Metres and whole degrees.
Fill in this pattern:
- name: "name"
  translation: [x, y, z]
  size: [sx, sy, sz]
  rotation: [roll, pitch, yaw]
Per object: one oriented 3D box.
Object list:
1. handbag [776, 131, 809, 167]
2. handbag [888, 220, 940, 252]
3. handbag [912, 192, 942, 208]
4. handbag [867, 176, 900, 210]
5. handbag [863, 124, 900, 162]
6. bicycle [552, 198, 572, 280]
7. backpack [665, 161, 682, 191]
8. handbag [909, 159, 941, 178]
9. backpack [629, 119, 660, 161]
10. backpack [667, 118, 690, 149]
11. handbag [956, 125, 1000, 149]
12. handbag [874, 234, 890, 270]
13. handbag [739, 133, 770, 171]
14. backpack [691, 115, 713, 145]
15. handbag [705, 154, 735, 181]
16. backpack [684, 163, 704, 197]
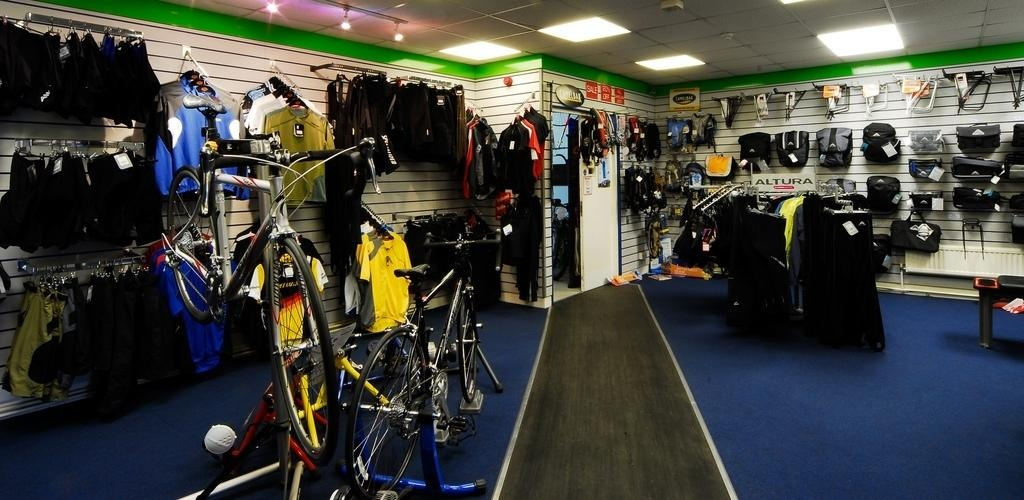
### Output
- name: "handbag"
  translation: [5.523, -1.956, 12.047]
  size: [0.612, 0.701, 0.268]
  rotation: [2, 9, 23]
- name: "handbag"
  translation: [7.405, -0.242, 11.150]
  size: [0.578, 0.449, 0.239]
  rotation: [9, 17, 29]
- name: "handbag"
  translation: [7.552, -0.864, 11.064]
  size: [0.480, 0.275, 0.299]
  rotation: [-1, 0, 32]
- name: "handbag"
  translation: [6.886, -1.028, 11.260]
  size: [0.685, 0.685, 0.432]
  rotation: [4, 8, 38]
- name: "handbag"
  translation: [6.864, -1.955, 11.265]
  size: [0.785, 0.801, 0.516]
  rotation: [-1, 3, 35]
- name: "bicycle"
  translation: [0.993, -0.140, 12.516]
  size: [0.290, 1.546, 0.525]
  rotation: [-1, 8, 6]
- name: "backpack"
  translation: [3.455, -1.581, 13.064]
  size: [0.333, 0.615, 0.257]
  rotation: [0, 8, 12]
- name: "handbag"
  translation: [7.472, -1.468, 11.079]
  size: [0.683, 0.402, 0.335]
  rotation: [3, 11, 24]
- name: "backpack"
  translation: [2.773, -2.285, 12.847]
  size: [0.215, 0.721, 1.044]
  rotation: [-1, 4, 40]
- name: "backpack"
  translation: [3.558, -2.438, 12.941]
  size: [0.645, 0.649, 0.413]
  rotation: [9, 14, 41]
- name: "handbag"
  translation: [8.210, -1.953, 10.730]
  size: [0.610, 0.422, 0.284]
  rotation: [4, 9, 32]
- name: "handbag"
  translation: [6.812, 0.106, 11.281]
  size: [0.236, 0.700, 0.547]
  rotation: [6, 11, 42]
- name: "handbag"
  translation: [4.926, -1.959, 12.317]
  size: [0.803, 0.843, 0.504]
  rotation: [5, 10, 35]
- name: "backpack"
  translation: [4.050, -2.538, 12.919]
  size: [0.496, 0.619, 0.479]
  rotation: [-3, 17, -23]
- name: "handbag"
  translation: [4.349, -1.740, 12.823]
  size: [0.682, 0.571, 0.505]
  rotation: [6, 16, 28]
- name: "backpack"
  translation: [3.830, -1.492, 12.839]
  size: [0.392, 0.647, 0.492]
  rotation: [1, 8, 14]
